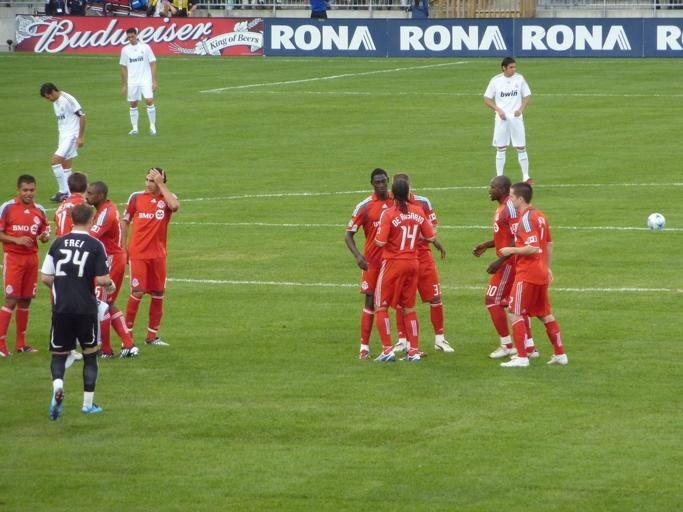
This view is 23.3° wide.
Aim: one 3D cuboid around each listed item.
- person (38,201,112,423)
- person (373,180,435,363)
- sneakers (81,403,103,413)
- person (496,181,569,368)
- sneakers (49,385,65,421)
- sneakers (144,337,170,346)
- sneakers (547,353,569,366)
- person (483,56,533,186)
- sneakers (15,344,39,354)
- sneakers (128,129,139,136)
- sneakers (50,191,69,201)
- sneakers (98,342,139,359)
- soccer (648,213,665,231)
[{"bbox_3d":[-4.156,0.871,26.152,1.149,3.382,0.592,-7,9,-21],"label":"person"},{"bbox_3d":[1.008,0.211,27.737,1.008,3.142,0.437,-5,9,-13],"label":"person"},{"bbox_3d":[-3.938,2.434,26.440,0.296,0.122,0.139,-2,10,-7],"label":"sneakers"},{"bbox_3d":[3.087,0.319,27.451,1.021,3.086,0.476,-3,8,-1],"label":"person"},{"bbox_3d":[-4.497,2.310,26.041,0.218,0.557,0.272,8,9,-16],"label":"sneakers"},{"bbox_3d":[-3.146,1.480,28.643,0.482,0.184,0.153,3,10,3],"label":"sneakers"},{"bbox_3d":[3.598,1.732,27.722,0.313,0.122,0.172,3,5,44],"label":"sneakers"},{"bbox_3d":[3.764,-3.094,37.313,0.991,2.812,0.976,2,10,33],"label":"person"},{"bbox_3d":[-5.333,1.601,28.358,0.350,0.121,0.123,-2,6,-9],"label":"sneakers"},{"bbox_3d":[-5.394,-3.260,43.361,0.208,0.137,0.341,-1,8,-11],"label":"sneakers"},{"bbox_3d":[-6.138,-1.327,36.430,0.529,0.182,0.195,-1,6,7],"label":"sneakers"},{"bbox_3d":[-3.768,1.623,28.087,0.680,0.269,0.234,2,-1,4],"label":"sneakers"},{"bbox_3d":[6.459,-0.728,34.250,0.359,0.323,0.567,-1,8,12],"label":"soccer"}]
